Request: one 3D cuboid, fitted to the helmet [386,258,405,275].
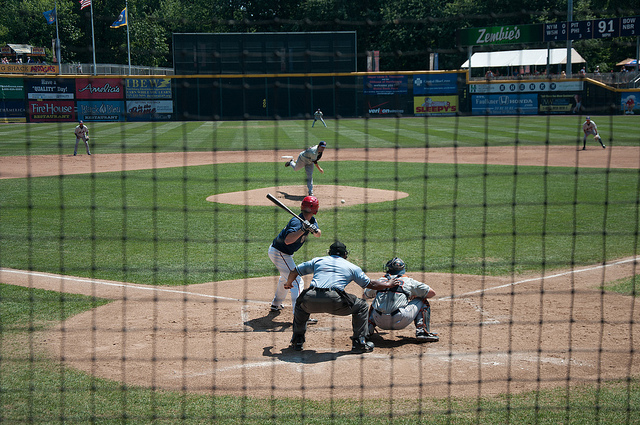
[{"bbox_3d":[2.739,1.966,35.826,0.475,0.469,0.520,5,-11,-34],"label":"helmet"}]
